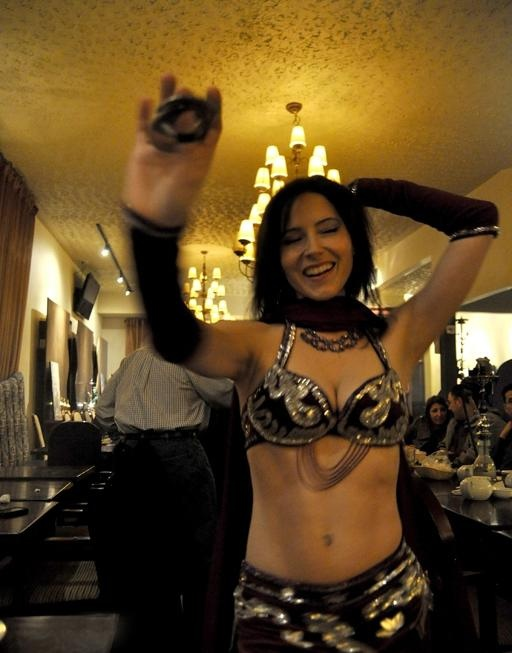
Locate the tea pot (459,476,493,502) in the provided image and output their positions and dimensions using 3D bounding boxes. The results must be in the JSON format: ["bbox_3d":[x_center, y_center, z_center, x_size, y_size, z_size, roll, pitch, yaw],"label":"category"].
[{"bbox_3d":[1.023,0.744,2.298,0.115,0.074,0.114,-2,-2,0],"label":"tea pot"}]

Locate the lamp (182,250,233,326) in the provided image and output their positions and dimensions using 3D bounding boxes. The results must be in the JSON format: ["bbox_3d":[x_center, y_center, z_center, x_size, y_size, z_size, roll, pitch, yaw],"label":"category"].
[{"bbox_3d":[-0.794,-0.570,7.687,0.677,1.183,0.617,-1,1,12],"label":"lamp"}]
